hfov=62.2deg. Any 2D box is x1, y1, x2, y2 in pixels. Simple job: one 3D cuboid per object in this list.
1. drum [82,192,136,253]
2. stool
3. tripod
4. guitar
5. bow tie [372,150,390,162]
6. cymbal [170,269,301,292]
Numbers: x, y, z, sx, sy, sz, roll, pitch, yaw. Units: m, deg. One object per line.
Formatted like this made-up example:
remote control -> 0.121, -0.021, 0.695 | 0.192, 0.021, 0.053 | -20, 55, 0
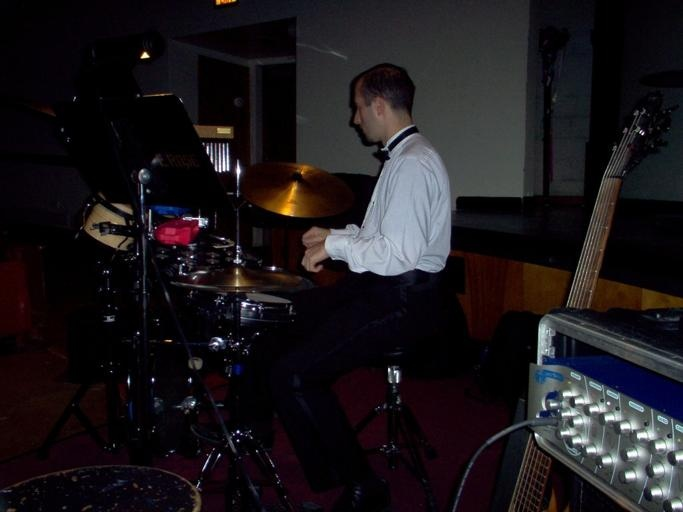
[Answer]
drum -> -1.045, -0.132, 2.524 | 0.217, 0.304, 0.558 | -1, 14, -24
stool -> 0.320, 0.619, 2.827 | 0.745, 1.134, 0.787 | 1, 1, 0
tripod -> -0.312, 0.718, 2.660 | 0.627, 0.947, 0.593 | 1, -10, -2
guitar -> 0.733, 0.181, 1.665 | 0.191, 1.304, 0.608 | 12, 14, 35
bow tie -> 0.182, -0.443, 2.506 | 0.045, 0.019, 0.056 | 50, -5, -19
cymbal -> -0.399, 0.096, 2.260 | 0.217, 0.043, 0.228 | 9, 8, 24
